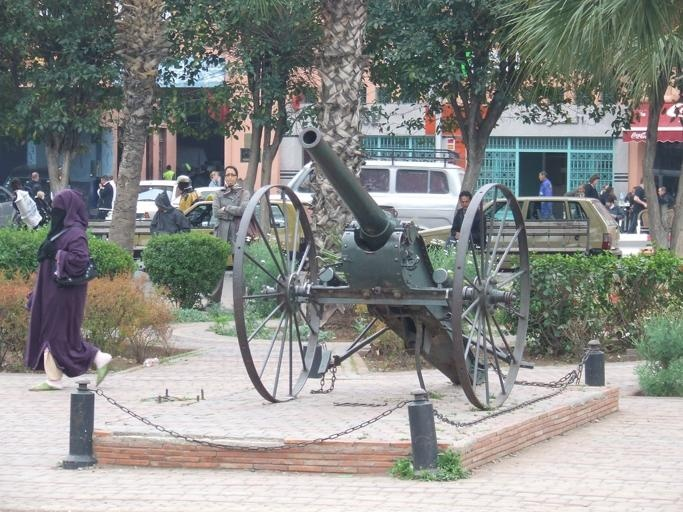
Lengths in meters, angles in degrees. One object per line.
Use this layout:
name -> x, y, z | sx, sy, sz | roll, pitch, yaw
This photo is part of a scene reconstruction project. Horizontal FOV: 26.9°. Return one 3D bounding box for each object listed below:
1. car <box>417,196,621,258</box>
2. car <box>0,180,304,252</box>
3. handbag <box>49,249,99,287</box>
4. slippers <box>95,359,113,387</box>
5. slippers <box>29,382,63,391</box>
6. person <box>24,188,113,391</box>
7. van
car -> 4.289, -0.671, 29.870 | 3.079, 1.085, 1.831 | 2, 1, 5
car -> -3.273, -0.719, 29.216 | 3.488, 1.294, 1.812 | 0, 1, -12
handbag -> -3.657, 0.189, 19.613 | 0.589, 0.411, 0.146 | 0, 1, -25
slippers -> -3.287, 1.587, 19.802 | 0.197, 0.473, 0.167 | 7, 21, -15
slippers -> -4.125, 1.805, 19.918 | 0.421, 0.146, 0.167 | 4, -4, 5
person -> -3.822, 0.462, 19.668 | 1.045, 2.778, 0.450 | 0, 1, -6
van -> 1.016, -1.907, 32.658 | 3.435, 2.004, 2.105 | 4, 1, 3
